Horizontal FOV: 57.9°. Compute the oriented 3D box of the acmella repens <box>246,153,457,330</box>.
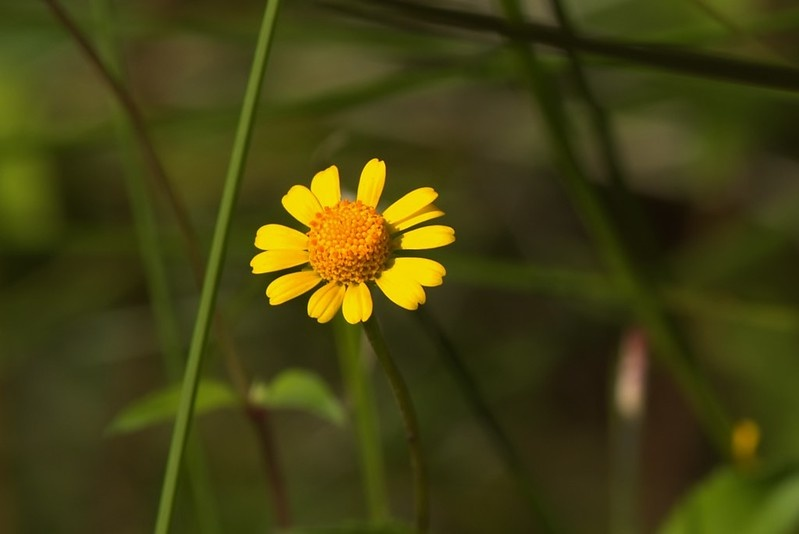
[{"bbox_3d":[-0.028,-0.006,0.699,0.195,0.058,0.189,-21,22,52],"label":"acmella repens"}]
